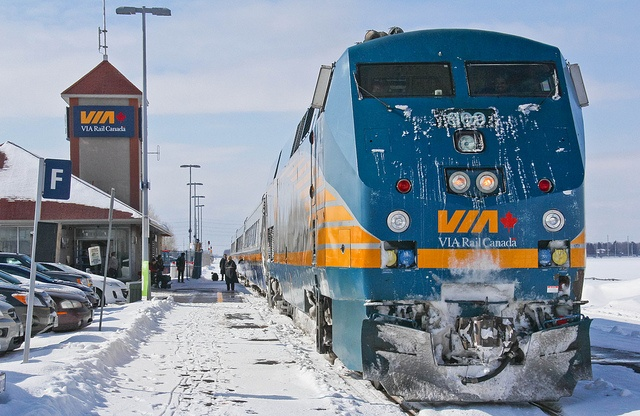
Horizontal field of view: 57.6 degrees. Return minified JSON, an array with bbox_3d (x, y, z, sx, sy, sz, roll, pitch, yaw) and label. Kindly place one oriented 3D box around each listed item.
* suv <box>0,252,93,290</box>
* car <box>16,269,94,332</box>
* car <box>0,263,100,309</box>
[{"bbox_3d":[-9.070,2.149,19.103,3.680,1.393,1.281,0,0,6],"label":"suv"},{"bbox_3d":[-6.813,2.684,15.629,2.389,0.867,1.017,1,-1,10],"label":"car"},{"bbox_3d":[-8.161,2.352,17.435,2.838,1.042,1.266,0,-2,8],"label":"car"}]
